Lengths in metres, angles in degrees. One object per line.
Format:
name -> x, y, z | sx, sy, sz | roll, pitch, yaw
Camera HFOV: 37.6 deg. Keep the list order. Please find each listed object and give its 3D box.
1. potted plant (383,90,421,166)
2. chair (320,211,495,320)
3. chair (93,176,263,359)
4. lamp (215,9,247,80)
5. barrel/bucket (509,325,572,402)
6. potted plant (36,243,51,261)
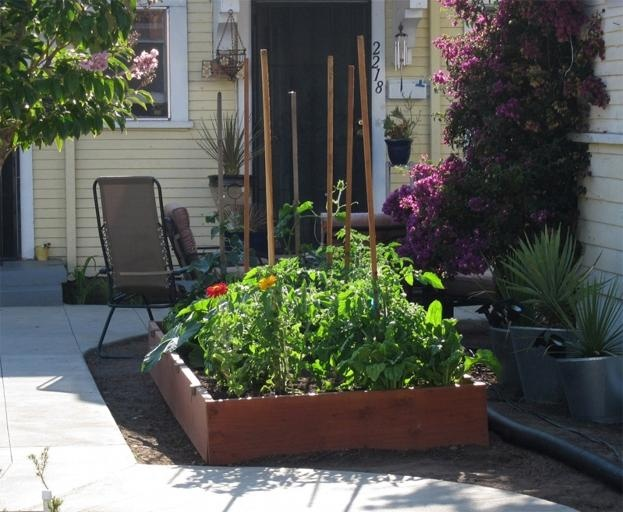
potted plant -> 0.911, -1.252, 9.376 | 0.260, 0.752, 0.375 | 1, 1, -22
chair -> 0.863, 0.120, 7.655 | 1.007, 1.301, 0.884 | -1, -1, -1
chair -> -0.849, -0.007, 7.367 | 0.903, 1.997, 1.210 | -2, 1, -1
lamp -> -0.840, -2.225, 9.543 | 0.216, 0.642, 0.233 | 7, 2, 18
barrel/bucket -> 1.387, 0.651, 5.810 | 0.405, 0.607, 0.388 | -1, -1, 0
potted plant -> -2.787, -0.018, 9.442 | 0.163, 0.202, 0.100 | 0, 1, -14
